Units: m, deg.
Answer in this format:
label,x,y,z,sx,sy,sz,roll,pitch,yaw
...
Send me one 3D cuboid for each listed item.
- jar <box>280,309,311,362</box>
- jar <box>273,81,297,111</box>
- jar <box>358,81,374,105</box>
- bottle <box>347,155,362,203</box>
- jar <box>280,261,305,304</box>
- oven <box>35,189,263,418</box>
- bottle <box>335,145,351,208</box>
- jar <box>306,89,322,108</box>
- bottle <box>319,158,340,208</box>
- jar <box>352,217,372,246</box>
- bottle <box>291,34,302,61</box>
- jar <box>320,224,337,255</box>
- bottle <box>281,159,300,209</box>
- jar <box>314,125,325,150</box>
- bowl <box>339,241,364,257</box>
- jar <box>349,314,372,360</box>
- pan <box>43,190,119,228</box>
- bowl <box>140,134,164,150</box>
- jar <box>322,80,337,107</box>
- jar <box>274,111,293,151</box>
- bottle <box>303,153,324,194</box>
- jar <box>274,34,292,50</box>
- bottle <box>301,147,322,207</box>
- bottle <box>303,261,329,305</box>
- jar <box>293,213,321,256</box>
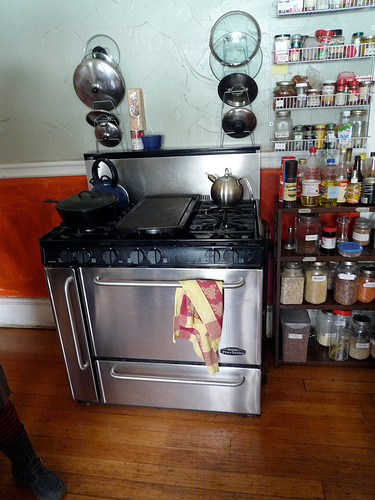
label,x,y,z,sx,sy,sz,roll,pitch,yaw
jar,0.580,0.453,2.207,0.163,0.247,0.198,2,21,14
jar,0.458,-0.747,1.963,0.114,0.126,0.124,-3,21,1
jar,0.827,-0.720,1.863,0.119,0.102,0.045,-20,27,-38
bottle,0.782,-0.328,1.889,0.060,0.211,0.124,6,23,21
jar,0.528,0.170,2.063,0.109,0.199,0.079,2,22,13
oven,-0.140,0.248,1.732,1.036,0.891,0.638,0,27,8
bottle,0.711,-0.343,1.912,0.091,0.253,0.088,0,14,0
jar,0.575,-0.709,1.904,0.085,0.083,0.079,-2,29,1
bottle,0.661,-0.316,1.910,0.093,0.217,0.088,-1,16,0
jar,0.894,-0.097,2.085,0.094,0.148,0.142,6,22,21
bottle,0.499,-0.918,1.846,0.060,0.107,0.029,-14,24,-26
jar,0.695,-0.058,1.993,0.073,0.142,0.128,5,22,20
bottle,0.473,-0.305,1.883,0.064,0.220,0.115,2,22,13
jar,0.630,-0.537,1.939,0.050,0.115,0.047,-3,21,1
bowl,0.781,0.001,1.939,0.101,0.054,0.083,-10,21,-19
jar,0.925,0.451,2.163,0.106,0.241,0.132,7,23,25
pan,-0.426,-0.179,1.742,0.269,0.132,0.220,-11,21,-21
bowl,-0.190,-0.566,2.114,0.095,0.054,0.090,-1,33,1
jar,0.654,-0.719,1.865,0.061,0.116,0.075,12,26,35
jar,0.475,-0.588,2.028,0.117,0.196,0.103,-4,21,7
bottle,0.593,-0.364,1.914,0.094,0.185,0.187,3,21,15
jar,0.429,-0.935,1.838,0.070,0.061,0.067,-2,25,1
bottle,0.581,-0.342,1.916,0.099,0.273,0.108,-4,24,2
bottle,0.665,0.155,2.100,0.146,0.238,0.141,-1,12,0
jar,0.574,-0.084,1.990,0.139,0.196,0.131,-3,21,1
